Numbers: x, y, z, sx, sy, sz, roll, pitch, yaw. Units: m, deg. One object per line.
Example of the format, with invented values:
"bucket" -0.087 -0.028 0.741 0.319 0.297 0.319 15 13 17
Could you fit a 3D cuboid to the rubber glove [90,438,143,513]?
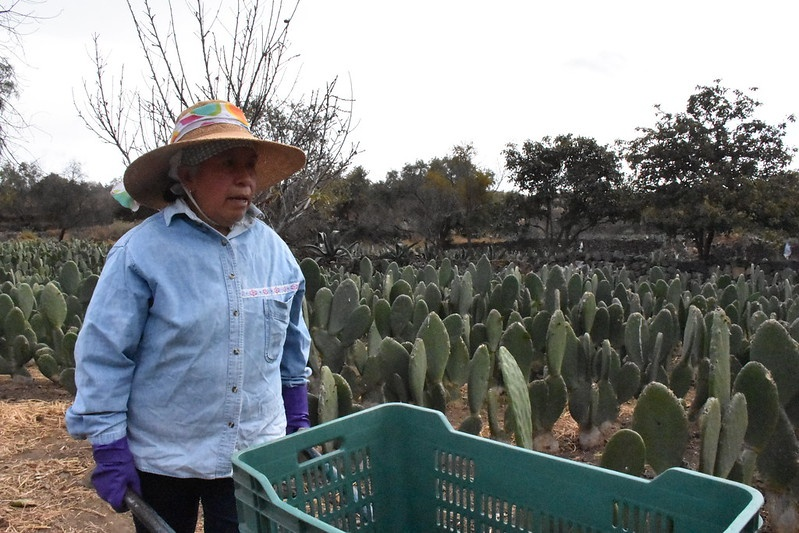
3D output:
"rubber glove" -1.072 0.784 2.520 0.172 0.268 0.167 1 1 -24
